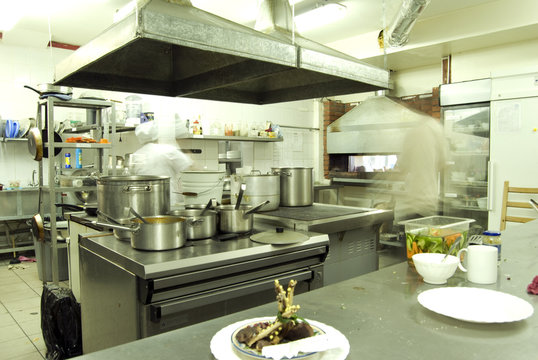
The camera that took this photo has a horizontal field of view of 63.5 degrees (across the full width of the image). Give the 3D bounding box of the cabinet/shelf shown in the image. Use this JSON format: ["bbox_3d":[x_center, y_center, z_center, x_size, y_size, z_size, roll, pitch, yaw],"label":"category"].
[{"bbox_3d":[-1.407,0.121,4.305,2.108,0.843,1.036,-1,-1,-30],"label":"cabinet/shelf"}]

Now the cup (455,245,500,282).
[{"bbox_3d":[1.081,0.435,2.249,0.194,0.191,0.109,1,7,19],"label":"cup"}]

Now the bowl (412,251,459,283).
[{"bbox_3d":[0.883,0.487,2.296,0.233,0.099,0.215,2,-5,0],"label":"bowl"}]
